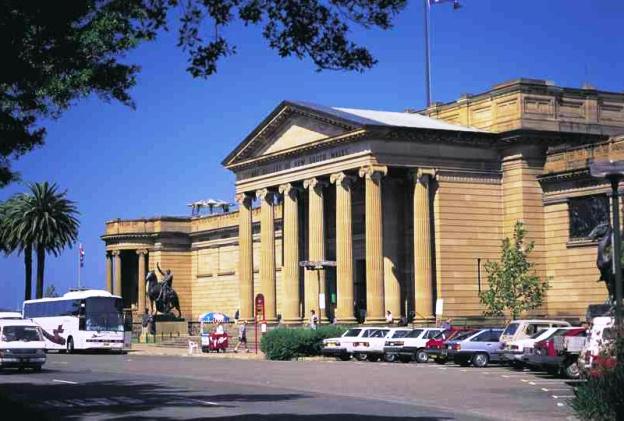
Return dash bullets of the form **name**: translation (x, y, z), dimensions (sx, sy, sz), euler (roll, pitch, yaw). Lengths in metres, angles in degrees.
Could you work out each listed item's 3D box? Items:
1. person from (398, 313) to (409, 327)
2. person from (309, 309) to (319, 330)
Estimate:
- **person**: translation (6.331, 7.663, 64.546), dimensions (0.844, 0.879, 0.680), euler (-2, -3, 15)
- **person**: translation (0.173, 7.879, 67.329), dimensions (0.489, 1.212, 0.681), euler (17, -31, -24)
